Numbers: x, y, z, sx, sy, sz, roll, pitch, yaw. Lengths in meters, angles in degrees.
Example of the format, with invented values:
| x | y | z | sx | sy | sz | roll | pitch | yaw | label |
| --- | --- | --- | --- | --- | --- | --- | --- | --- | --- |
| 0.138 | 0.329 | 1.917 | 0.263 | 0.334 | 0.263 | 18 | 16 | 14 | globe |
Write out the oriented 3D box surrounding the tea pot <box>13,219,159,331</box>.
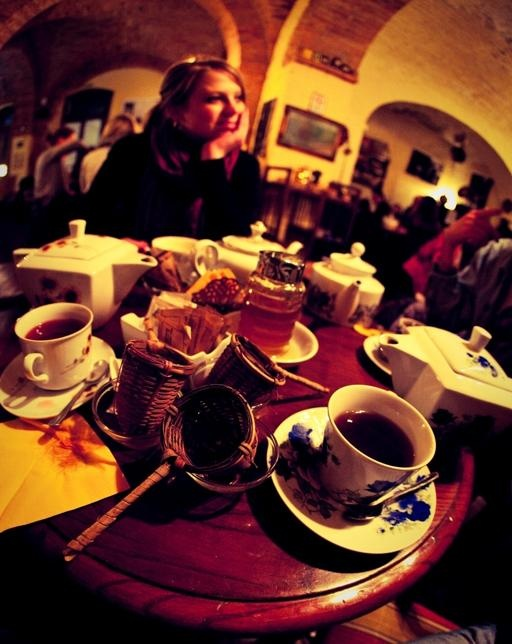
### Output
| x | y | z | sx | sy | sz | roll | pitch | yaw | label |
| --- | --- | --- | --- | --- | --- | --- | --- | --- | --- |
| -0.358 | -0.105 | 1.072 | 0.290 | 0.222 | 0.200 | 9 | 27 | 12 | tea pot |

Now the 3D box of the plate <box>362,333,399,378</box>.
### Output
| x | y | z | sx | sy | sz | roll | pitch | yaw | label |
| --- | --- | --- | --- | --- | --- | --- | --- | --- | --- |
| 0.294 | 0.070 | 1.165 | 0.080 | 0.013 | 0.080 | 17 | 32 | -2 | plate |

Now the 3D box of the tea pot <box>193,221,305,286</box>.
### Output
| x | y | z | sx | sy | sz | roll | pitch | yaw | label |
| --- | --- | --- | --- | --- | --- | --- | --- | --- | --- |
| -0.020 | -0.187 | 1.192 | 0.194 | 0.118 | 0.150 | 14 | 17 | -11 | tea pot |

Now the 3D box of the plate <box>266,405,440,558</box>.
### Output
| x | y | z | sx | sy | sz | roll | pitch | yaw | label |
| --- | --- | --- | --- | --- | --- | --- | --- | --- | --- |
| 0.129 | 0.229 | 0.787 | 0.213 | 0.053 | 0.213 | 12 | 30 | -43 | plate |

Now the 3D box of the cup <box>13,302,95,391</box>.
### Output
| x | y | z | sx | sy | sz | roll | pitch | yaw | label |
| --- | --- | --- | --- | --- | --- | --- | --- | --- | --- |
| -0.347 | 0.053 | 0.883 | 0.116 | 0.109 | 0.150 | 8 | 30 | 9 | cup |

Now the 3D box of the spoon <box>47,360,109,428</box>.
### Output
| x | y | z | sx | sy | sz | roll | pitch | yaw | label |
| --- | --- | --- | --- | --- | --- | --- | --- | --- | --- |
| -0.296 | 0.105 | 0.901 | 0.031 | 0.026 | 0.180 | 15 | 39 | 13 | spoon |

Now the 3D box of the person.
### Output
| x | y | z | sx | sy | sz | roll | pitch | yaw | label |
| --- | --- | --- | --- | --- | --- | --- | --- | --- | --- |
| -0.053 | -0.351 | 1.560 | 1.095 | 0.291 | 1.110 | 32 | 16 | 34 | person |

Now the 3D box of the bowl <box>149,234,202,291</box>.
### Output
| x | y | z | sx | sy | sz | roll | pitch | yaw | label |
| --- | --- | --- | --- | --- | --- | --- | --- | --- | --- |
| -0.185 | -0.157 | 1.249 | 0.115 | 0.098 | 0.128 | 7 | 24 | -32 | bowl |

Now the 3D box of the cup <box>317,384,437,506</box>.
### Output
| x | y | z | sx | sy | sz | roll | pitch | yaw | label |
| --- | --- | --- | --- | --- | --- | --- | --- | --- | --- |
| 0.179 | 0.178 | 0.778 | 0.157 | 0.131 | 0.186 | 14 | 36 | -18 | cup |
